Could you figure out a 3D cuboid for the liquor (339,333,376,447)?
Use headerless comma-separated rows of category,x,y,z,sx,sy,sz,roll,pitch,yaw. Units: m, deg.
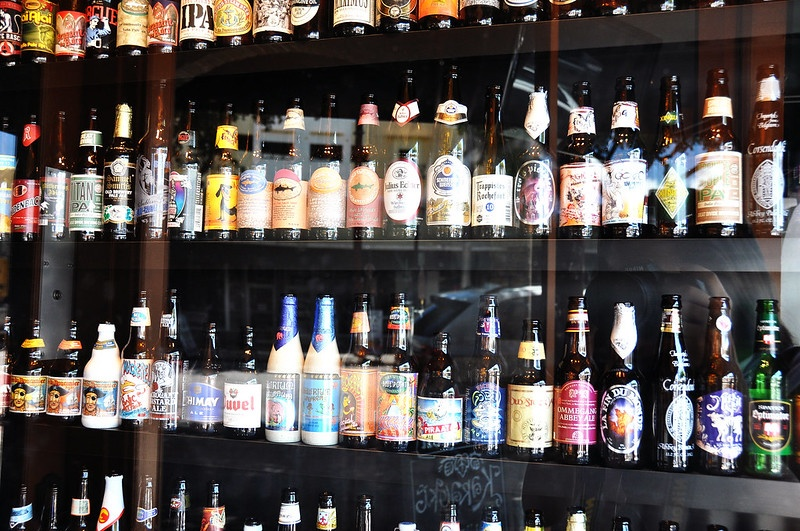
liquor,-0.113,0.342,2.606,0.101,0.291,0.134,-1,3,1

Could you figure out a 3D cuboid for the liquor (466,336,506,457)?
liquor,0.235,0.352,2.562,0.106,0.305,0.141,-1,3,6

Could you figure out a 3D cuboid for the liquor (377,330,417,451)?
liquor,-0.007,0.338,2.590,0.111,0.311,0.142,-1,3,0
